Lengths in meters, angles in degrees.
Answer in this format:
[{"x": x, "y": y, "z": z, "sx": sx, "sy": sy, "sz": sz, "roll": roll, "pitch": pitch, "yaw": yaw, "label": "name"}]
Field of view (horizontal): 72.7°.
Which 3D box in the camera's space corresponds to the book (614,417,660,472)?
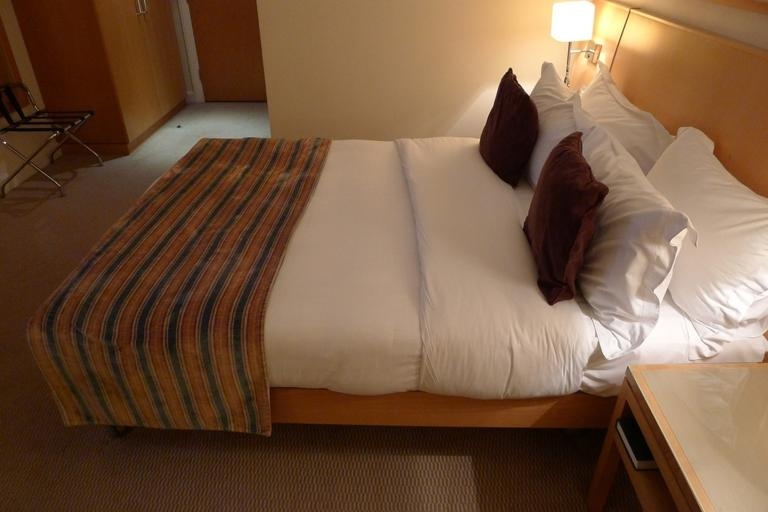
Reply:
[{"x": 1.046, "y": 0.779, "z": 2.154, "sx": 0.145, "sy": 0.036, "sz": 0.158, "roll": 0, "pitch": 45, "yaw": -5, "label": "book"}]
